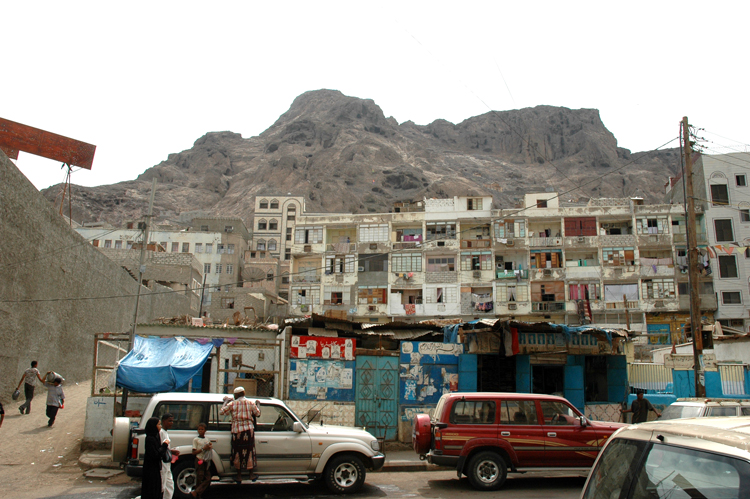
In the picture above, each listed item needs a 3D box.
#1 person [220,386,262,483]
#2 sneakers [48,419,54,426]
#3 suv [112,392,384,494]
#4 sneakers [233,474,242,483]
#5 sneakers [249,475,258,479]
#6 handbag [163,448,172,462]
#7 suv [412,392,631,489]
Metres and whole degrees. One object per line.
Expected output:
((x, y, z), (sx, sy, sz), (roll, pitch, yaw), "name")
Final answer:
((-3.498, 4.819, 17.603), (0.914, 2.373, 0.480), (2, -13, -10), "person")
((-11.511, 6.186, 24.083), (0.170, 0.200, 0.284), (6, -13, -25), "sneakers")
((-3.214, 5.243, 18.941), (7.733, 2.519, 2.788), (0, -6, -10), "suv")
((-3.543, 5.887, 17.452), (0.214, 0.277, 0.196), (-2, -12, 9), "sneakers")
((-3.150, 5.901, 17.563), (0.087, 0.192, 0.224), (-7, -14, 27), "sneakers")
((-4.867, 4.812, 15.824), (0.199, 0.330, 0.349), (-2, -8, -11), "handbag")
((3.996, 5.331, 19.488), (5.684, 1.933, 2.422), (-1, -7, -4), "suv")
